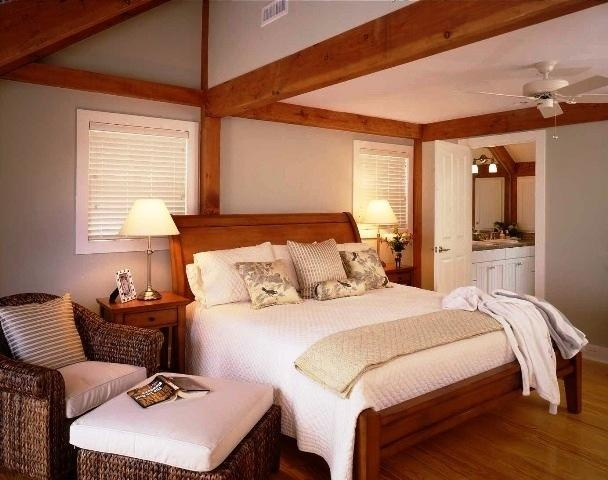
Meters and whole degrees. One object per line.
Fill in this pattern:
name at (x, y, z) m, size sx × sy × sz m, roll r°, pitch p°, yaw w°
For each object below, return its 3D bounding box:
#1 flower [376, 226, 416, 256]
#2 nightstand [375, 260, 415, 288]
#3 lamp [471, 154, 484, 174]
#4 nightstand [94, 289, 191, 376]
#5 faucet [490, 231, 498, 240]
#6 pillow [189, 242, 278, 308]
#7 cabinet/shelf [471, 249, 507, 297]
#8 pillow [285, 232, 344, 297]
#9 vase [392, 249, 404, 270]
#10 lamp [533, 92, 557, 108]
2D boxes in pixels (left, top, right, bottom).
flower at (1.249, -0.010, 6.007) m, size 0.421 × 0.364 × 0.410 m, roll 0°, pitch 1°, yaw -44°
nightstand at (1.155, 0.411, 5.751) m, size 0.460 × 0.452 × 0.338 m, roll -4°, pitch 6°, yaw -37°
lamp at (3.004, -1.302, 7.651) m, size 0.167 × 0.323 × 0.888 m, roll 1°, pitch 7°, yaw 19°
nightstand at (-1.401, 0.891, 3.943) m, size 0.697 × 0.812 × 0.704 m, roll 4°, pitch 10°, yaw 29°
faucet at (3.361, -0.079, 7.829) m, size 0.124 × 0.125 × 0.075 m, roll 6°, pitch -8°, yaw 6°
pillow at (-0.568, 0.248, 4.241) m, size 0.838 × 0.268 × 0.541 m, roll -1°, pitch -14°, yaw 18°
cabinet/shelf at (2.958, 0.534, 6.712) m, size 0.340 × 0.708 × 0.743 m, roll 10°, pitch -13°, yaw -15°
pillow at (0.087, 0.241, 4.285) m, size 0.537 × 0.527 × 0.163 m, roll -4°, pitch -23°, yaw -37°
vase at (1.229, 0.264, 5.830) m, size 0.196 × 0.228 × 0.198 m, roll -1°, pitch 3°, yaw 1°
lamp at (1.932, -1.110, 3.555) m, size 0.107 × 0.052 × 0.095 m, roll 0°, pitch 0°, yaw -23°
